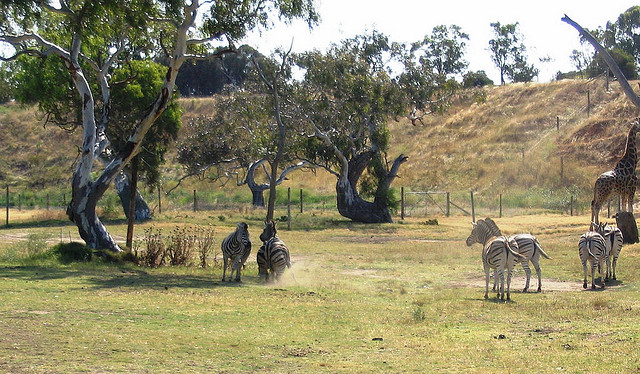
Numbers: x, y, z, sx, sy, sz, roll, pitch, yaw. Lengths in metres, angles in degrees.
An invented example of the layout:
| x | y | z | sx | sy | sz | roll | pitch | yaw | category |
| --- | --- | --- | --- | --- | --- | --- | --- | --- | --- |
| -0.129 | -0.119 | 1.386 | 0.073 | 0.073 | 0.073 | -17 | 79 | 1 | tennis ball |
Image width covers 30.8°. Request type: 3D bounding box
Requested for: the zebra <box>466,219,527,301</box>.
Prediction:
| x | y | z | sx | sy | sz | roll | pitch | yaw | category |
| --- | --- | --- | --- | --- | --- | --- | --- | --- | --- |
| 13.473 | 5.391 | 88.598 | 2.140 | 6.290 | 8.638 | 4 | -4 | -15 | zebra |

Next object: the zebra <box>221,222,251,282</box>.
| x | y | z | sx | sy | sz | roll | pitch | yaw | category |
| --- | --- | --- | --- | --- | --- | --- | --- | --- | --- |
| -6.451 | 5.040 | 89.298 | 2.052 | 4.367 | 1.889 | -1 | 12 | -4 | zebra |

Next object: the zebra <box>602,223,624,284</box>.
| x | y | z | sx | sy | sz | roll | pitch | yaw | category |
| --- | --- | --- | --- | --- | --- | --- | --- | --- | --- |
| 23.409 | 5.486 | 92.832 | 1.847 | 4.566 | 6.615 | 2 | -7 | 16 | zebra |

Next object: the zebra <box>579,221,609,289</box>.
| x | y | z | sx | sy | sz | roll | pitch | yaw | category |
| --- | --- | --- | --- | --- | --- | --- | --- | --- | --- |
| 21.078 | 5.455 | 89.233 | 2.152 | 4.530 | 2.099 | -1 | 12 | -8 | zebra |
